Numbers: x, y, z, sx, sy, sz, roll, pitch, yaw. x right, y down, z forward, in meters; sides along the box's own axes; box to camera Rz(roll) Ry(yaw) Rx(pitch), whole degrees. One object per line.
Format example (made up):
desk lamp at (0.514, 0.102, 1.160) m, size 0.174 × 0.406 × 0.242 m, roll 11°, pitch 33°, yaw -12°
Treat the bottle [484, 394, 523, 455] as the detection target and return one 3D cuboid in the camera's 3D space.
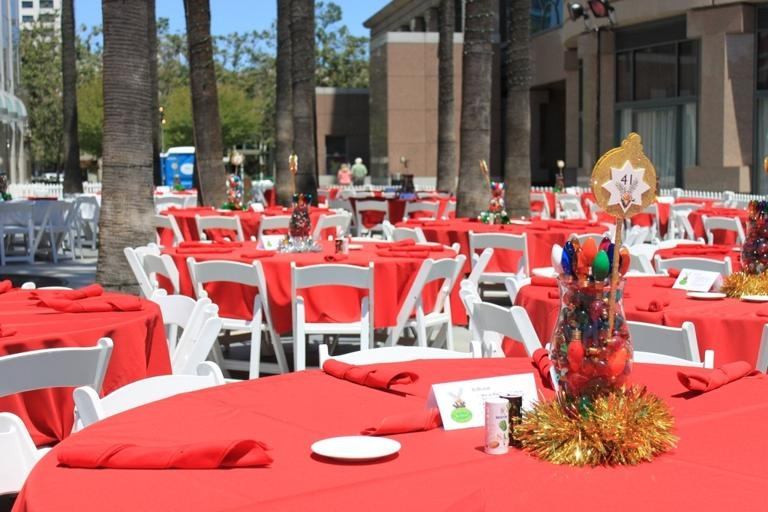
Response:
bottle at (0.690, 0.891, 5.882) m, size 0.231 × 0.446 × 0.274 m, roll 2°, pitch 2°, yaw 15°
